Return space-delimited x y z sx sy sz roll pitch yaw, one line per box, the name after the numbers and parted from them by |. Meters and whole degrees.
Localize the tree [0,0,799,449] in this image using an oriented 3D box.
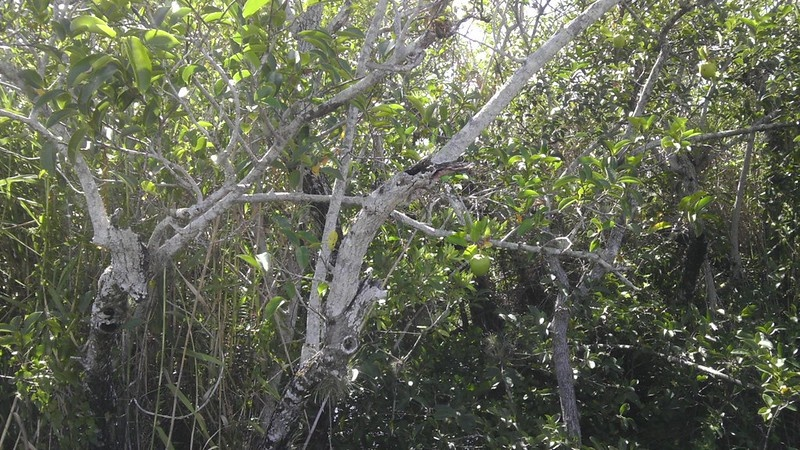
-0.764 -0.213 5.417 3.745 3.803 1.947 6 22 -16 | tree

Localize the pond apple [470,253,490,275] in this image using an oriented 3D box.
0.581 0.283 5.267 0.135 0.173 0.142 7 -1 -23 | pond apple
